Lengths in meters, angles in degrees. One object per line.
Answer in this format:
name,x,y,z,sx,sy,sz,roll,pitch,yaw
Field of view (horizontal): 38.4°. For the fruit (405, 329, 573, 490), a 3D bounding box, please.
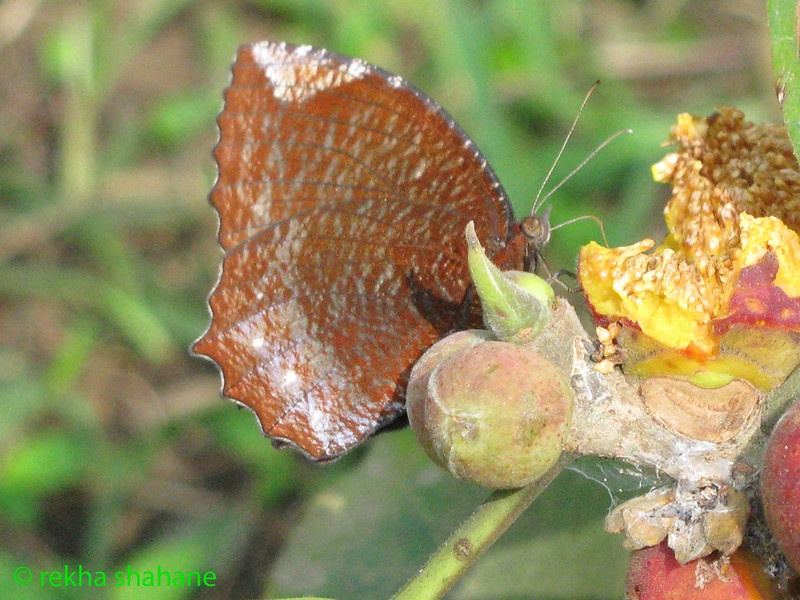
fruit,0.162,0.190,2.014,0.307,0.147,0.253,30,82,9
